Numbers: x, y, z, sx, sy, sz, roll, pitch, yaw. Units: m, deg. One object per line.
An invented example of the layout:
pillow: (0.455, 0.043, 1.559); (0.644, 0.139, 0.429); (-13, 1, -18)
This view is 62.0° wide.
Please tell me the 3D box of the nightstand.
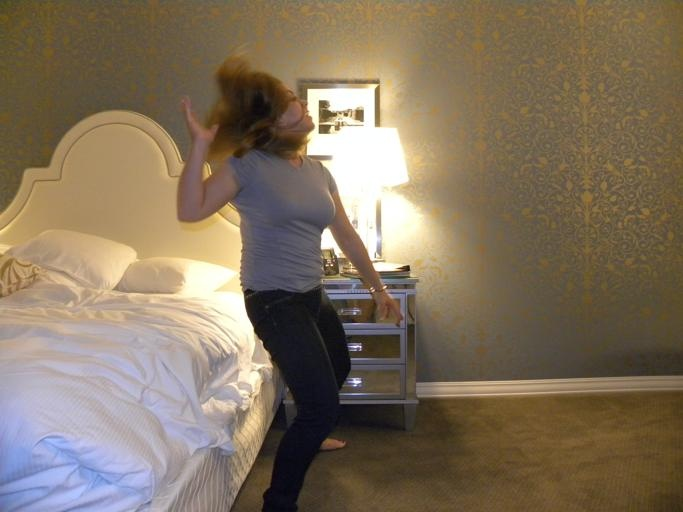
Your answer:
nightstand: (0.074, 0.734, 3.600); (0.836, 0.630, 1.023); (2, 52, -1)

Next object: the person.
person: (-0.257, 0.189, 2.520); (0.620, 2.068, 0.918); (2, 14, 14)
